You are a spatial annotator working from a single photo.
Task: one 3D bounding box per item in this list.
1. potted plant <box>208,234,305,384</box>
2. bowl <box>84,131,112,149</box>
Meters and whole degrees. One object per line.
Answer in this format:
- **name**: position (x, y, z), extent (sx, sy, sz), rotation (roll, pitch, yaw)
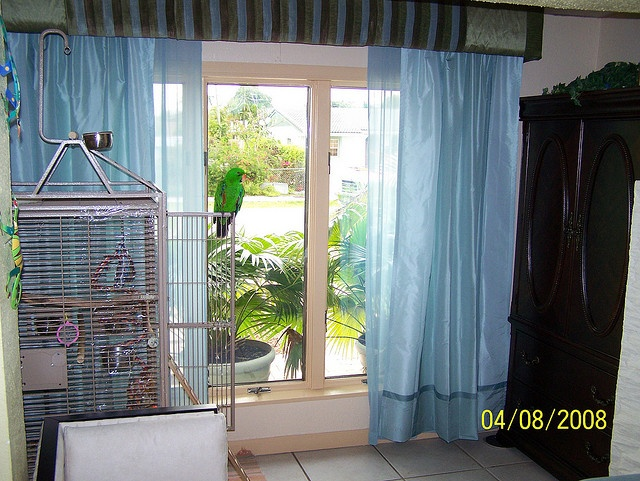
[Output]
- **potted plant**: position (-0.355, 0.397, 3.324), extent (0.544, 0.998, 0.367), rotation (0, 8, -19)
- **bowl**: position (-0.978, -0.439, 2.183), extent (0.113, 0.084, 0.107), rotation (-1, 9, 0)
